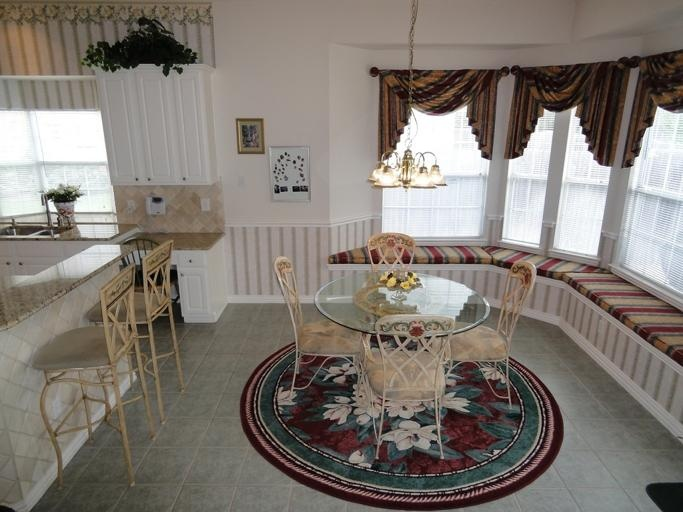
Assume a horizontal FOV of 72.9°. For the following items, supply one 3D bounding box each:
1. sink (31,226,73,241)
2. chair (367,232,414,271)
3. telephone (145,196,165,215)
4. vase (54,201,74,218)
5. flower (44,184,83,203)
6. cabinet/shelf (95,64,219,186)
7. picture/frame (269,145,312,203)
[{"bbox_3d":[-3.332,-0.283,5.350,0.414,0.105,0.624,-13,20,-29],"label":"sink"},{"bbox_3d":[0.600,-0.052,5.781,0.576,0.670,0.510,0,10,3],"label":"chair"},{"bbox_3d":[-2.432,-0.679,5.994,0.222,0.200,0.113,1,20,-7],"label":"telephone"},{"bbox_3d":[-3.374,-0.576,5.601,0.192,0.143,0.193,-2,12,-13],"label":"vase"},{"bbox_3d":[-3.452,-0.728,5.697,0.343,0.201,0.345,5,5,41],"label":"flower"},{"bbox_3d":[-2.187,-1.600,5.474,1.522,1.339,0.603,-1,15,-3],"label":"cabinet/shelf"},{"bbox_3d":[-0.679,-1.113,5.986,0.765,0.895,0.038,1,27,3],"label":"picture/frame"}]
